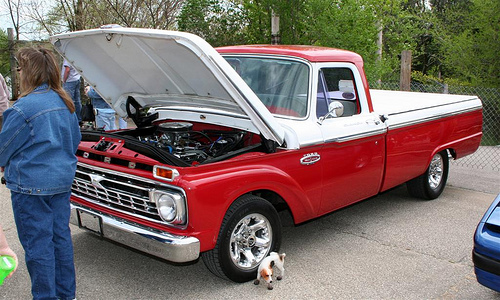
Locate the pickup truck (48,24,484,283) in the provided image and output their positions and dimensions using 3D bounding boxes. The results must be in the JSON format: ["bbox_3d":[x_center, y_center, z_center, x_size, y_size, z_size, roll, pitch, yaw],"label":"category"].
[{"bbox_3d":[0.575,-0.145,5.761,6.284,2.713,3.372,-9,12,-43],"label":"pickup truck"}]

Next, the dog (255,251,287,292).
[{"bbox_3d":[0.264,1.507,4.268,0.211,0.331,0.645,4,7,21],"label":"dog"}]
